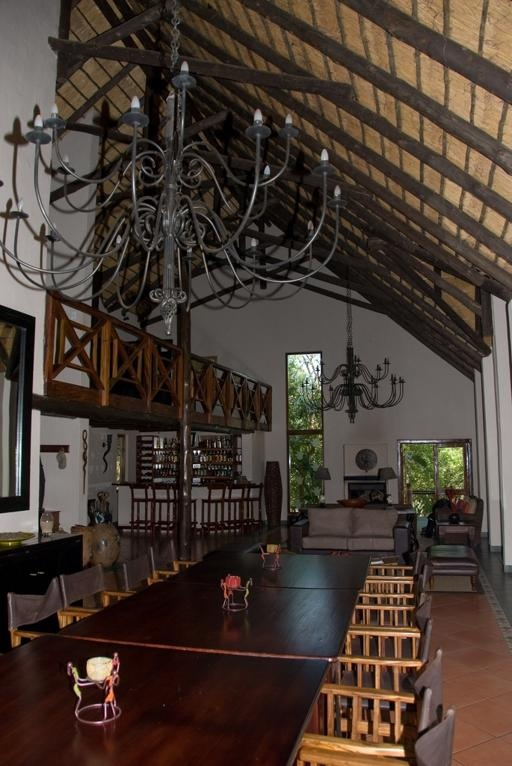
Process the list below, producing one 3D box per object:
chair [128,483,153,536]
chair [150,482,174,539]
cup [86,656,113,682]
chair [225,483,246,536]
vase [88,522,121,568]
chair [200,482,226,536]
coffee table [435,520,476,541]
[{"bbox_3d":[-2.364,2.564,11.338,0.464,0.952,1.236,3,-11,-13],"label":"chair"},{"bbox_3d":[-1.870,2.529,11.159,0.503,0.951,0.826,2,-11,-11],"label":"chair"},{"bbox_3d":[-0.424,0.773,1.520,0.062,0.053,0.070,-2,-3,35],"label":"cup"},{"bbox_3d":[-0.494,2.660,11.797,0.380,0.942,1.419,1,-11,-3],"label":"chair"},{"bbox_3d":[-2.179,2.327,7.948,0.335,0.616,0.620,1,-11,-6],"label":"vase"},{"bbox_3d":[-0.896,2.556,11.308,0.473,0.945,0.865,1,-10,-5],"label":"chair"},{"bbox_3d":[3.601,2.682,10.211,0.506,0.377,0.393,1,-2,6],"label":"coffee table"}]
